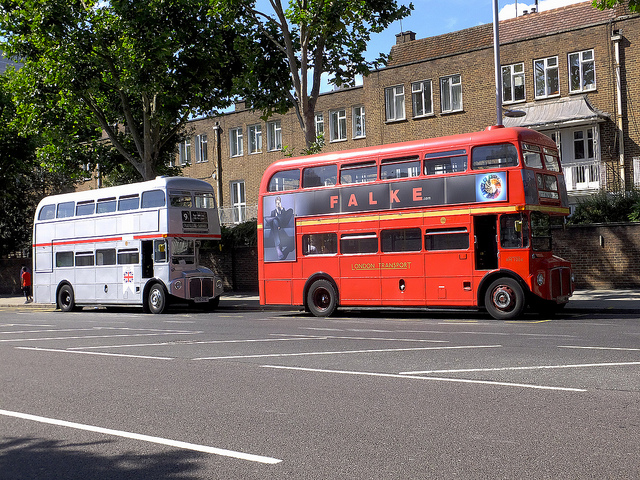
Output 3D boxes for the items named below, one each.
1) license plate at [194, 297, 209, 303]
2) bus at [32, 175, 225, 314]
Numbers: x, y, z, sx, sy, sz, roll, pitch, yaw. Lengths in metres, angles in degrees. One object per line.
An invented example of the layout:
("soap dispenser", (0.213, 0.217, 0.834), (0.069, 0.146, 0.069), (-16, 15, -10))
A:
("license plate", (-4.707, 2.349, 26.235), (0.205, 0.196, 0.700), (-2, 0, 42))
("bus", (-8.754, 0.366, 29.182), (9.067, 5.427, 3.121), (-4, -2, 33))
